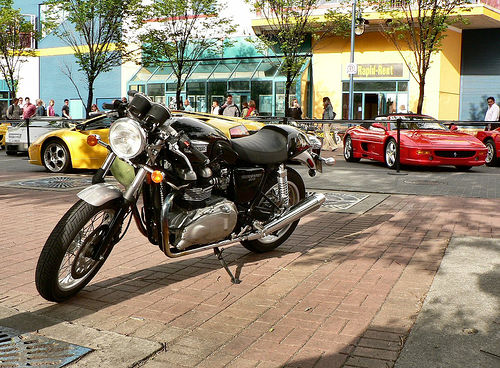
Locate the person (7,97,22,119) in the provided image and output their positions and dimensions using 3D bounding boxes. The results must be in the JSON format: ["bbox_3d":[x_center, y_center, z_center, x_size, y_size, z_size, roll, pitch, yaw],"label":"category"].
[{"bbox_3d":[-14.455,-4.651,22.127,0.792,1.396,2.530,-4,8,-32],"label":"person"}]

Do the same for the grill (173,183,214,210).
[{"bbox_3d":[-0.534,0.102,3.391,0.230,0.115,0.311,10,18,38],"label":"grill"}]

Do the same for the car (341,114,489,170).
[{"bbox_3d":[5.726,-1.690,13.878,2.688,1.289,4.452,-2,5,-24],"label":"car"}]

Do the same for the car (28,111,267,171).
[{"bbox_3d":[-4.204,-1.058,10.005,4.994,1.163,2.822,3,7,18],"label":"car"}]

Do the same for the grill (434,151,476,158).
[{"bbox_3d":[7.020,-1.036,12.354,1.532,0.220,0.250,-2,7,-19],"label":"grill"}]
